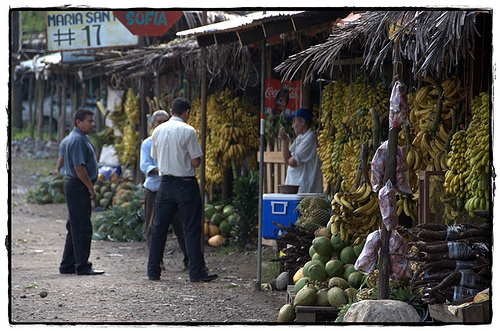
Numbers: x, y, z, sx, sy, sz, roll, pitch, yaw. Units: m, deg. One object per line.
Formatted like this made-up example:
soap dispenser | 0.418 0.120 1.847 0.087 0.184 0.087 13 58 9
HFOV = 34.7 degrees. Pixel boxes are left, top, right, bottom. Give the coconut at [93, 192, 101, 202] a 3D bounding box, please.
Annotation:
coconut | -3.794 0.779 19.821 0.131 0.253 0.295 0 2 -12

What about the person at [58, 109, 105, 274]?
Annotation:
person | -2.870 0.436 13.401 0.658 2.741 0.481 0 2 -14

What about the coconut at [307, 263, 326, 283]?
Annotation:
coconut | 0.921 1.479 11.122 0.167 0.235 0.182 -31 -35 -20

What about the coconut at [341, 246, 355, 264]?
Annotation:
coconut | 1.374 1.266 11.322 0.175 0.241 0.197 3 -30 6

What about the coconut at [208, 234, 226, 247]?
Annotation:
coconut | -0.654 1.435 15.338 0.247 0.188 0.172 1 -8 5

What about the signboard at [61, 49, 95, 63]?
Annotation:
signboard | -4.169 -2.637 19.297 0.781 0.403 1.712 1 3 -11

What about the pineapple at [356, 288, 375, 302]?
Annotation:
pineapple | 1.547 1.720 10.809 0.250 0.154 0.199 1 2 1

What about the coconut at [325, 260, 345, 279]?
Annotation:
coconut | 1.176 1.434 11.176 0.227 0.217 0.186 -8 3 -1

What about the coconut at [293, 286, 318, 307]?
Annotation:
coconut | 0.754 1.756 10.834 0.321 0.193 0.206 -37 -12 -13

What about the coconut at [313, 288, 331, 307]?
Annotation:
coconut | 0.980 1.799 10.858 0.144 0.231 0.172 3 30 -1

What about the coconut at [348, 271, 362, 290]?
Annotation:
coconut | 1.438 1.566 11.076 0.162 0.229 0.195 6 -34 6

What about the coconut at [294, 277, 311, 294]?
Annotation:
coconut | 0.743 1.646 11.202 0.248 0.138 0.147 -28 25 -7

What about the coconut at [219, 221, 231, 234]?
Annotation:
coconut | -0.497 1.192 15.441 0.227 0.240 0.125 1 2 -3

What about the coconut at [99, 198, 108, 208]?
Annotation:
coconut | -3.653 0.933 19.807 0.186 0.253 0.187 -21 -25 38

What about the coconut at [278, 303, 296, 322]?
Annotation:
coconut | 0.501 2.010 11.009 0.235 0.266 0.241 1 2 -1

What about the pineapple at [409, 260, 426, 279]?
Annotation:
pineapple | 2.219 1.397 10.769 0.090 0.291 0.188 -5 2 -29

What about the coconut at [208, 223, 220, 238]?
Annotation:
coconut | -0.744 1.270 15.584 0.186 0.260 0.201 -19 -8 -12

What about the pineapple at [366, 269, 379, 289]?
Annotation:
pineapple | 1.668 1.537 10.904 0.157 0.233 0.130 -28 -53 34

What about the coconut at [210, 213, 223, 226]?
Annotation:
coconut | -0.661 1.036 15.501 0.200 0.187 0.157 -3 -7 -25

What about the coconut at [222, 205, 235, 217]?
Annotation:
coconut | -0.434 0.874 15.529 0.207 0.227 0.447 1 2 -2

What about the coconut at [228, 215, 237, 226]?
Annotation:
coconut | -0.352 1.038 15.306 0.154 0.223 0.169 1 -2 13

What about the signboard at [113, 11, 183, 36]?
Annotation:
signboard | -1.845 -2.534 14.347 1.251 0.532 0.032 -1 -26 -9

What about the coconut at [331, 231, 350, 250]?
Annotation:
coconut | 1.272 1.085 11.426 0.187 0.228 0.259 20 9 28
